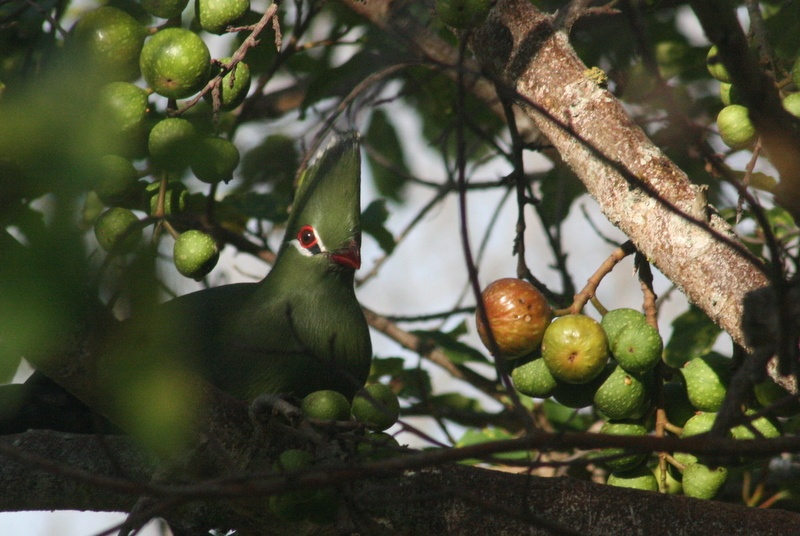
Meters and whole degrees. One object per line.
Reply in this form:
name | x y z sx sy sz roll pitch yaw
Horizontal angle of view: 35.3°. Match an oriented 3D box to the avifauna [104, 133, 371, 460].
avifauna | -0.637 0.159 4.395 1.103 0.685 1.170 5 90 29
